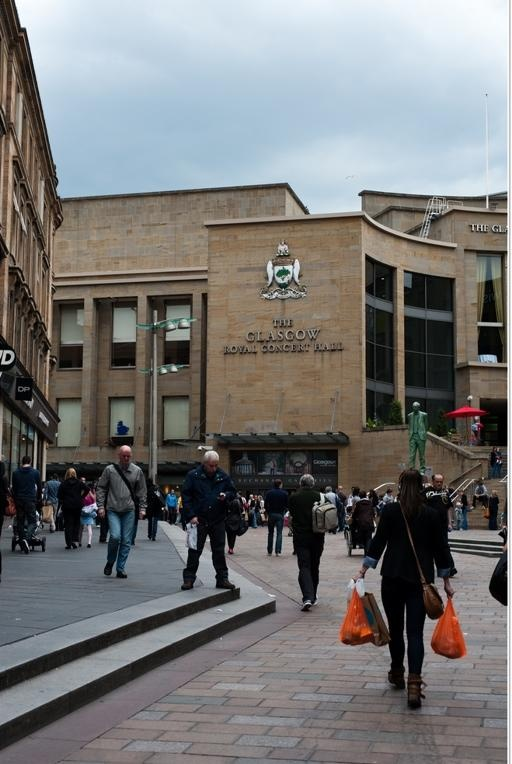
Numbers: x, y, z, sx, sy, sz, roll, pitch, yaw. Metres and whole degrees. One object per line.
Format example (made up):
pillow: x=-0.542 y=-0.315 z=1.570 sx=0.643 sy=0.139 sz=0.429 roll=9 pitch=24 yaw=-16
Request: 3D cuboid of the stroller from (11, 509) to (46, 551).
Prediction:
stroller: x=-3.777 y=2.558 z=16.954 sx=0.489 sy=0.834 sz=1.556 roll=1 pitch=-4 yaw=-1

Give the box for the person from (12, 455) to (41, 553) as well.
person: x=-3.714 y=1.992 z=16.100 sx=0.434 sy=1.541 sz=1.198 roll=2 pitch=-7 yaw=-14

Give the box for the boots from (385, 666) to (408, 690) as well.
boots: x=0.954 y=2.012 z=6.732 sx=0.065 sy=0.128 sz=0.174 roll=-1 pitch=6 yaw=-11

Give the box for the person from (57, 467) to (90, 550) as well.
person: x=-3.207 y=2.192 z=17.424 sx=0.462 sy=1.340 sz=0.432 roll=0 pitch=1 yaw=-29

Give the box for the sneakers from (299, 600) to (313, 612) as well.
sneakers: x=0.582 y=2.621 z=11.603 sx=0.117 sy=0.135 sz=0.331 roll=2 pitch=-14 yaw=1

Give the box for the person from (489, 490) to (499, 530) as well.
person: x=7.732 y=4.250 z=32.527 sx=0.326 sy=1.218 sz=1.316 roll=-1 pitch=-6 yaw=12

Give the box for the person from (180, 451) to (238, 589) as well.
person: x=-0.545 y=1.579 z=11.343 sx=0.611 sy=1.554 sz=1.259 roll=0 pitch=-6 yaw=-2

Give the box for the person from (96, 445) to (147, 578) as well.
person: x=-1.625 y=1.570 z=11.988 sx=0.541 sy=1.558 sz=0.381 roll=2 pitch=-2 yaw=-11

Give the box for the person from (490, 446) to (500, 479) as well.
person: x=9.385 y=3.229 z=39.128 sx=0.384 sy=1.129 sz=0.929 roll=-1 pitch=-7 yaw=13

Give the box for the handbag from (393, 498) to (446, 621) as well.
handbag: x=1.077 y=1.191 z=6.635 sx=0.157 sy=0.938 sz=0.269 roll=-12 pitch=-44 yaw=-7

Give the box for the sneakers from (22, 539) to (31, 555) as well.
sneakers: x=-3.720 y=2.682 z=16.105 sx=0.096 sy=0.298 sz=0.111 roll=-14 pitch=5 yaw=-18

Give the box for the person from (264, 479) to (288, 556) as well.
person: x=0.432 y=2.943 z=21.526 sx=0.475 sy=1.610 sz=0.531 roll=3 pitch=-12 yaw=2

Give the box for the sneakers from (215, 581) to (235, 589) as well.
sneakers: x=-0.350 y=2.295 z=11.207 sx=0.241 sy=0.117 sz=0.085 roll=-1 pitch=-4 yaw=8

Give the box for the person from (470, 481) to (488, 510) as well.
person: x=7.902 y=4.094 z=35.344 sx=0.538 sy=0.759 sz=1.092 roll=0 pitch=36 yaw=11
